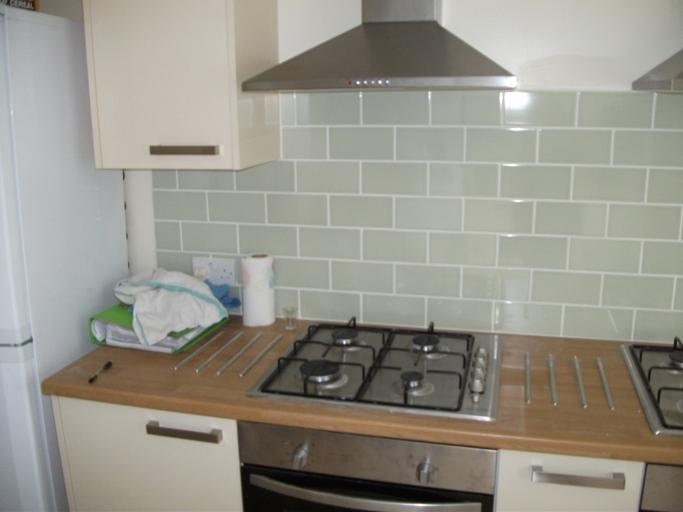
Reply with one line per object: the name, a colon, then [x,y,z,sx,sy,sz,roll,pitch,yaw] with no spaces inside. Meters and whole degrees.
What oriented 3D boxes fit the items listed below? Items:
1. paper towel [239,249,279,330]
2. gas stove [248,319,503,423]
paper towel: [-0.347,0.129,2.359,0.151,0.258,0.144,-5,7,-28]
gas stove: [0.152,0.351,2.025,0.765,0.164,0.587,1,10,14]
